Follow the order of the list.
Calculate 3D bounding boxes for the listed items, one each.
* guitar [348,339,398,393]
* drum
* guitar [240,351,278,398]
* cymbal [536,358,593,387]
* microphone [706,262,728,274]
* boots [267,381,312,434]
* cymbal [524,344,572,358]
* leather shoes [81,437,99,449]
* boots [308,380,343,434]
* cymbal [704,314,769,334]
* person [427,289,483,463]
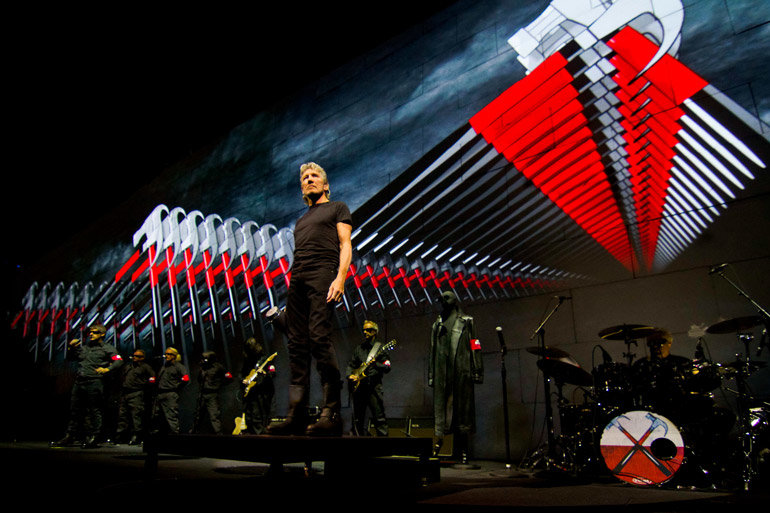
[{"bbox_3d":[-0.204,1.578,9.104,0.630,0.715,0.242,1,-21,-4],"label":"guitar"},{"bbox_3d":[3.105,1.879,7.376,1.834,1.634,0.754,-12,-23,26],"label":"drum"},{"bbox_3d":[-1.979,1.799,10.015,0.445,0.071,0.895,23,-62,-28],"label":"guitar"},{"bbox_3d":[2.234,1.431,7.683,0.503,0.132,0.497,26,-13,-31],"label":"cymbal"},{"bbox_3d":[4.002,0.119,7.449,0.188,0.053,0.208,-24,-3,14],"label":"microphone"},{"bbox_3d":[-0.977,1.548,6.299,0.399,0.517,0.252,3,-21,-11],"label":"boots"},{"bbox_3d":[2.107,1.199,7.912,0.282,0.069,0.289,-11,1,5],"label":"cymbal"},{"bbox_3d":[-4.853,3.087,10.240,0.193,0.102,0.258,8,-24,-37],"label":"leather shoes"},{"bbox_3d":[-0.601,1.564,6.253,0.244,0.533,0.554,-8,-11,26],"label":"boots"},{"bbox_3d":[4.199,0.800,7.465,0.627,0.253,0.467,-11,-23,24],"label":"cymbal"},{"bbox_3d":[0.959,1.430,8.508,0.712,1.903,0.488,-2,-21,3],"label":"person"}]
